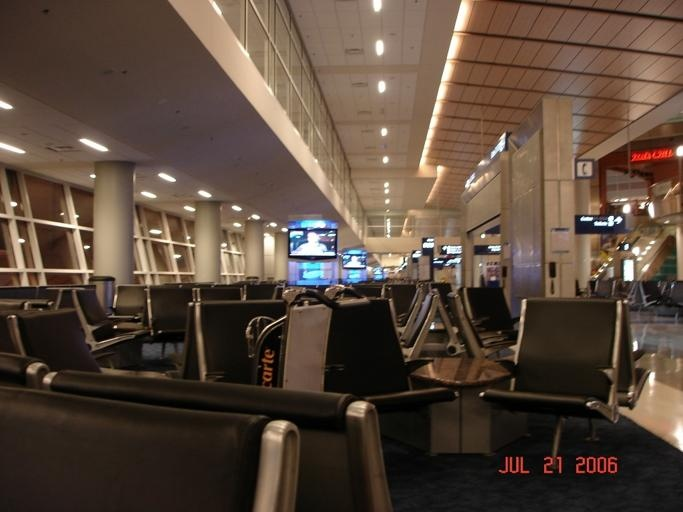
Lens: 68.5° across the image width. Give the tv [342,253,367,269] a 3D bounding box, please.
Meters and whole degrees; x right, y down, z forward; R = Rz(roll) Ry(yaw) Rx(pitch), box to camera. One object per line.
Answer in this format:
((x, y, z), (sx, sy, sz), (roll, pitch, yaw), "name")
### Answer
((0.635, 0.221, 24.734), (1.304, 0.810, 0.705), (1, 4, 5), "tv")
